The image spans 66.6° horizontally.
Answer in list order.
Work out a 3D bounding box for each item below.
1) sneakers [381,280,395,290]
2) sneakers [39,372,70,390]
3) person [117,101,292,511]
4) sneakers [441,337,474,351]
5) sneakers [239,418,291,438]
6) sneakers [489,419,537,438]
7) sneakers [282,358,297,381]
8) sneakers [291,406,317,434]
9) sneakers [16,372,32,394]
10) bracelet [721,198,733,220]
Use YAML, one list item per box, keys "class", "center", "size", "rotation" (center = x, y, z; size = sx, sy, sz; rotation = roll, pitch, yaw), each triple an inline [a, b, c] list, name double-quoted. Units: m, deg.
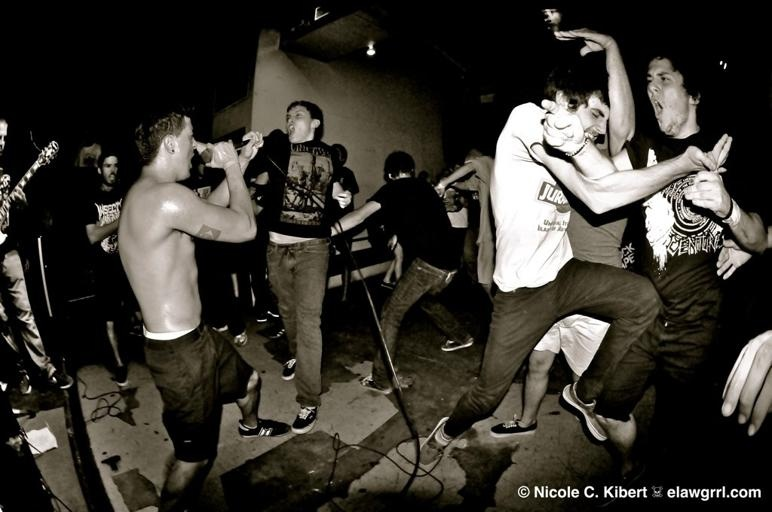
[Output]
- class: "sneakers"
  center: [0.024, 0.446, 8.809]
  size: [0.087, 0.099, 0.253]
  rotation: [2, 3, -42]
- class: "sneakers"
  center: [-3.273, 1.267, 5.812]
  size: [0.180, 0.184, 0.163]
  rotation: [-28, -9, -46]
- class: "person"
  center: [-1.606, 0.411, 4.808]
  size: [1.301, 3.058, 0.845]
  rotation: [-19, 23, -40]
- class: "sneakers"
  center: [0.786, 0.978, 6.525]
  size: [0.299, 0.097, 0.164]
  rotation: [-2, 6, 4]
- class: "sneakers"
  center: [-1.094, 1.570, 5.408]
  size: [0.506, 0.179, 0.179]
  rotation: [0, 2, -13]
- class: "sneakers"
  center: [1.125, 1.549, 5.332]
  size: [0.451, 0.158, 0.157]
  rotation: [1, -5, -2]
- class: "sneakers"
  center: [-0.980, 1.150, 6.179]
  size: [0.145, 0.149, 0.393]
  rotation: [3, 15, 4]
- class: "sneakers"
  center: [-0.753, 1.515, 5.429]
  size: [0.143, 0.126, 0.286]
  rotation: [5, 19, 13]
- class: "sneakers"
  center: [-3.489, 1.224, 5.683]
  size: [0.050, 0.197, 0.142]
  rotation: [-13, 8, -21]
- class: "bracelet"
  center: [2.630, -0.363, 4.502]
  size: [0.054, 0.139, 0.107]
  rotation: [11, 0, -19]
